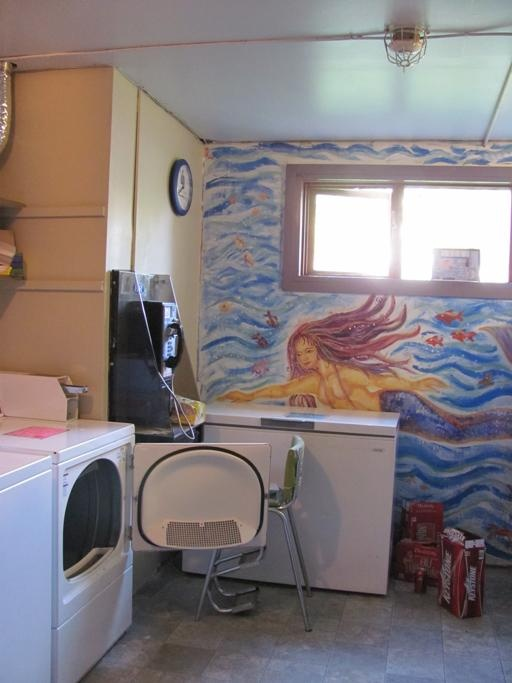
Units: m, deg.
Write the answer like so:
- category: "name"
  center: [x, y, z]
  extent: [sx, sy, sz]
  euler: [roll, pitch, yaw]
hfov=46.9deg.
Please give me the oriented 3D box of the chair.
- category: "chair"
  center: [0.028, 0.855, 2.614]
  extent: [0.420, 0.728, 0.402]
  euler: [-4, -4, 11]

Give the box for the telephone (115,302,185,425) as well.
- category: "telephone"
  center: [-0.459, 0.105, 2.600]
  extent: [0.155, 0.541, 0.355]
  euler: [2, 0, 34]

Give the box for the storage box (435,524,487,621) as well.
- category: "storage box"
  center: [0.922, 1.057, 2.665]
  extent: [0.154, 0.460, 0.294]
  euler: [5, -4, -21]

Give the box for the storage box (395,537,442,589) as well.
- category: "storage box"
  center: [0.829, 1.101, 2.954]
  extent: [0.225, 0.221, 0.116]
  euler: [3, -2, 24]
